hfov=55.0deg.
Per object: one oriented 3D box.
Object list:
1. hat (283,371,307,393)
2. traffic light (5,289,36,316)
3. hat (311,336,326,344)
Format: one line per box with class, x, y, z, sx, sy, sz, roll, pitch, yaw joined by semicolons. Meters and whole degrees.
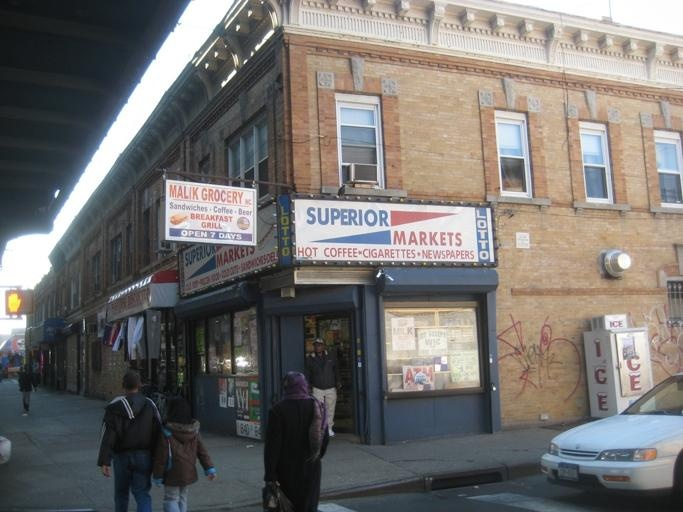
hat;-0.568;1.514;7.962;0.198;0.212;0.267;2;1;-21
traffic light;-7.131;1.008;14.492;0.548;0.552;0.724;0;-5;-27
hat;-0.517;1.831;14.421;0.232;0.173;0.383;-4;-17;7
